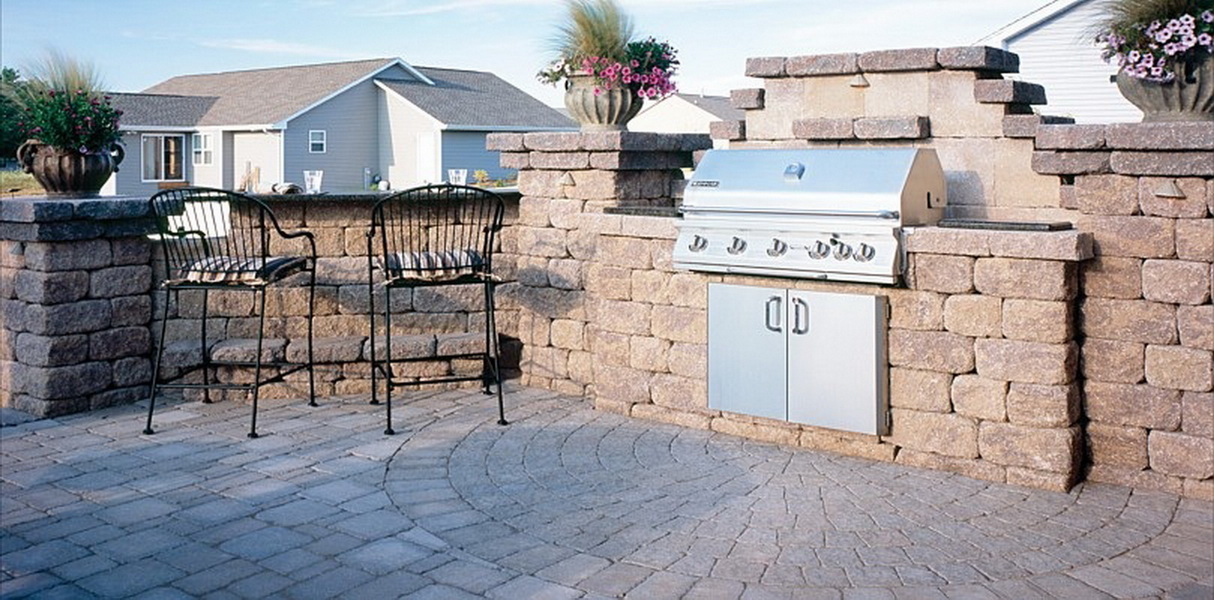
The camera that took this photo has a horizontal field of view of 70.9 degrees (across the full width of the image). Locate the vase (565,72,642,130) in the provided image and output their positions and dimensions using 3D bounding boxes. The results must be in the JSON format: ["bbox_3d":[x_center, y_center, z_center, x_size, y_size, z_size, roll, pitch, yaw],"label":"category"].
[{"bbox_3d":[0.025,-2.065,8.853,0.879,0.562,0.820,-5,14,-25],"label":"vase"}]

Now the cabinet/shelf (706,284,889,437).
[{"bbox_3d":[1.667,0.468,7.174,1.641,0.970,0.569,1,1,31],"label":"cabinet/shelf"}]

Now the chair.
[{"bbox_3d":[-2.904,0.003,8.103,3.399,2.201,1.590,0,9,0],"label":"chair"}]

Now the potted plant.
[{"bbox_3d":[-5.264,-1.677,8.251,0.948,1.345,0.561,-3,9,-19],"label":"potted plant"}]
